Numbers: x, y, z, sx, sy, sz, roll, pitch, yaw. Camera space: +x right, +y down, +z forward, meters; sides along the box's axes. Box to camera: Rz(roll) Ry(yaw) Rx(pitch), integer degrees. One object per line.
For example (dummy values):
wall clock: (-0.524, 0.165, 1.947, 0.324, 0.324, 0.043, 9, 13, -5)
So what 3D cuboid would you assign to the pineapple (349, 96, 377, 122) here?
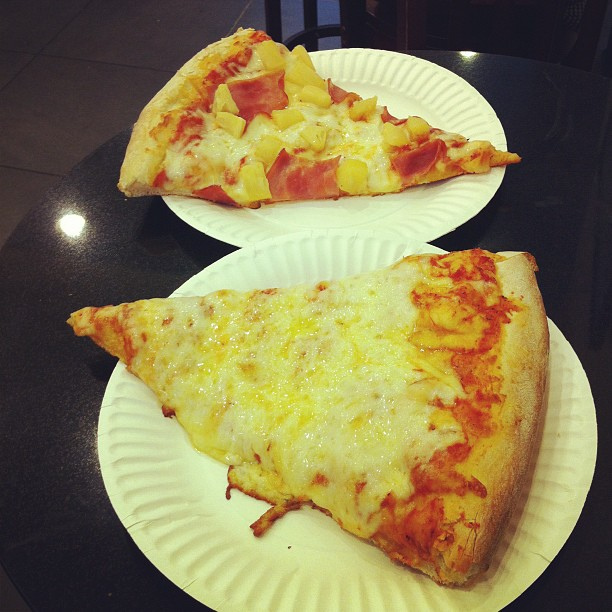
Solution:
pineapple: (0.159, -0.541, 1.947, 0.066, 0.077, 0.027, 32, 35, -10)

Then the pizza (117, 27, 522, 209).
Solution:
pizza: (0.074, -0.434, 1.903, 0.979, 0.128, 0.476, 11, 46, 21)

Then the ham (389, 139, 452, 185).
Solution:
ham: (0.288, -0.371, 1.814, 0.161, 0.044, 0.079, -25, 81, 23)

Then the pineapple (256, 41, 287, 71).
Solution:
pineapple: (-0.103, -0.731, 2.066, 0.079, 0.028, 0.092, -20, 72, 2)

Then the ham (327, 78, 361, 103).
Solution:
ham: (0.089, -0.617, 2.045, 0.121, 0.028, 0.053, 17, 60, 0)

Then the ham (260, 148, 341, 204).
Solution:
ham: (0.021, -0.355, 1.899, 0.240, 0.111, 0.172, 12, 40, 18)

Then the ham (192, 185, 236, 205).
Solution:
ham: (-0.238, -0.285, 1.819, 0.074, 0.018, 0.055, 5, 52, -2)

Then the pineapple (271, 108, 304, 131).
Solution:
pineapple: (-0.051, -0.508, 1.905, 0.073, 0.031, 0.063, -34, 92, -11)

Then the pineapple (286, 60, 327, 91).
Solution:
pineapple: (-0.005, -0.660, 2.026, 0.115, 0.040, 0.053, 23, 79, -10)

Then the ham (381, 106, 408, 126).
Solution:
ham: (0.241, -0.517, 1.942, 0.047, 0.016, 0.070, -40, 72, -12)

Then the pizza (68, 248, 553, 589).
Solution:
pizza: (0.012, 0.133, 1.325, 0.831, 0.179, 0.617, 14, 56, 15)
